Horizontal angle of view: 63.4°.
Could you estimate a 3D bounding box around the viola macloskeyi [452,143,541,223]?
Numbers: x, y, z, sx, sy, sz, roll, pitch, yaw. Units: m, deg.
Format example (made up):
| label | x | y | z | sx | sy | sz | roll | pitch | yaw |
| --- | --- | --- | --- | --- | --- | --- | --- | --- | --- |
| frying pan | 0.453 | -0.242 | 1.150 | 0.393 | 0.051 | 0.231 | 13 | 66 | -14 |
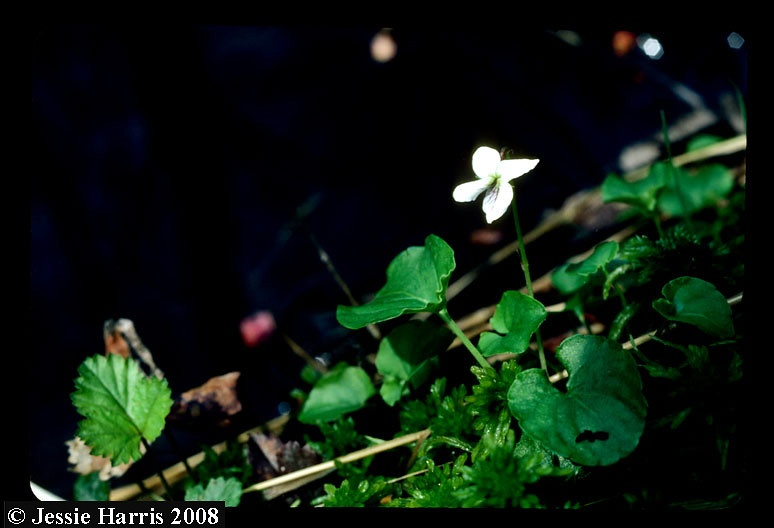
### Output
| label | x | y | z | sx | sy | sz | roll | pitch | yaw |
| --- | --- | --- | --- | --- | --- | --- | --- | --- | --- |
| viola macloskeyi | 0.322 | -0.238 | 1.939 | 0.254 | 0.233 | 0.074 | -61 | -26 | 7 |
